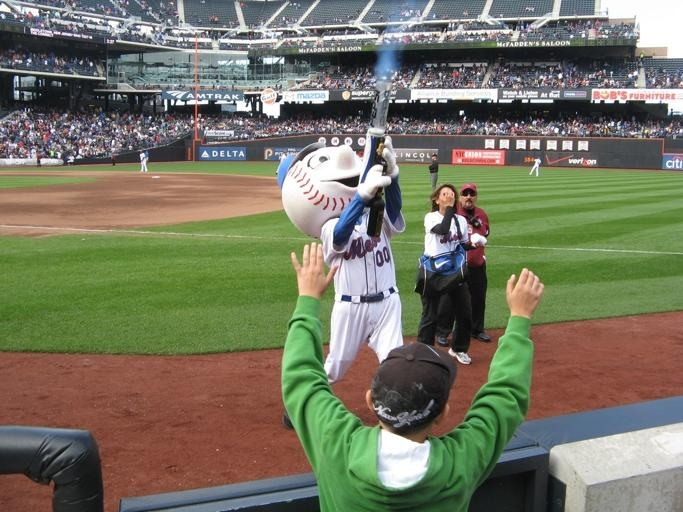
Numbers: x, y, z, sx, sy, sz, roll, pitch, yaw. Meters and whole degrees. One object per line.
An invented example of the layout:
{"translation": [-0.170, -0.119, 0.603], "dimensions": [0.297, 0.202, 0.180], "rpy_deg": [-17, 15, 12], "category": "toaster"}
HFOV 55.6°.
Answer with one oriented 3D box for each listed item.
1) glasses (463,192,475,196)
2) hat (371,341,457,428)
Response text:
{"translation": [1.438, -0.713, 7.340], "dimensions": [0.072, 0.052, 0.118], "rpy_deg": [3, 15, -2], "category": "glasses"}
{"translation": [0.334, 0.582, 2.990], "dimensions": [0.288, 0.232, 0.405], "rpy_deg": [19, 61, 21], "category": "hat"}
